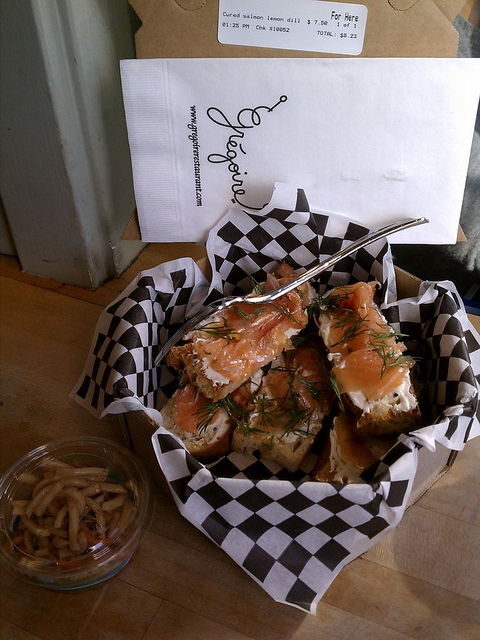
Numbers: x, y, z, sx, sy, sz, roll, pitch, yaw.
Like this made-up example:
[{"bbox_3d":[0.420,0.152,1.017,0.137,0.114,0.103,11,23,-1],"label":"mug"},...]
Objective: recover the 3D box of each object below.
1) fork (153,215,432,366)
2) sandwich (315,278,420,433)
[{"bbox_3d":[0.074,-0.040,0.796,0.407,0.046,0.053,-25,60,-6],"label":"fork"},{"bbox_3d":[0.166,0.047,0.759,0.117,0.075,0.200,-11,59,2],"label":"sandwich"}]
